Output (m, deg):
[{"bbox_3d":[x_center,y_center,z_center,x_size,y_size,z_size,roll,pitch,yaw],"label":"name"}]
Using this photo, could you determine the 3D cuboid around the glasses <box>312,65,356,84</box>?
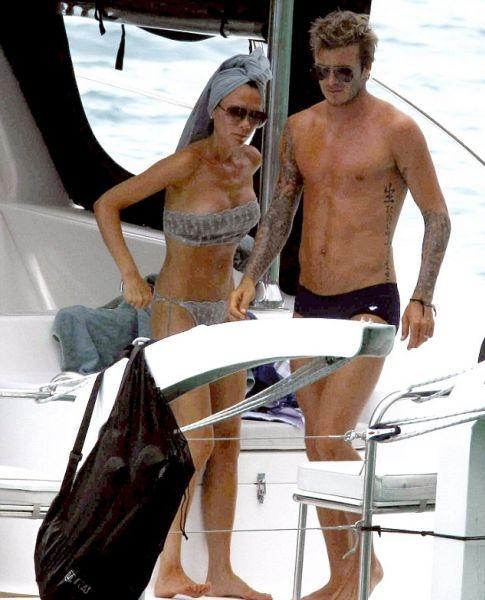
[{"bbox_3d":[0.186,-0.481,2.459,0.091,0.038,0.021,9,27,29],"label":"glasses"}]

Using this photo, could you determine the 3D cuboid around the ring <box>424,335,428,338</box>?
[{"bbox_3d":[0.389,0.079,2.467,0.007,0.005,0.002,0,14,-12],"label":"ring"}]

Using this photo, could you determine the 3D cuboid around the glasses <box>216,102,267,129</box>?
[{"bbox_3d":[0.007,-0.401,2.510,0.109,0.058,0.048,-13,25,-26],"label":"glasses"}]
